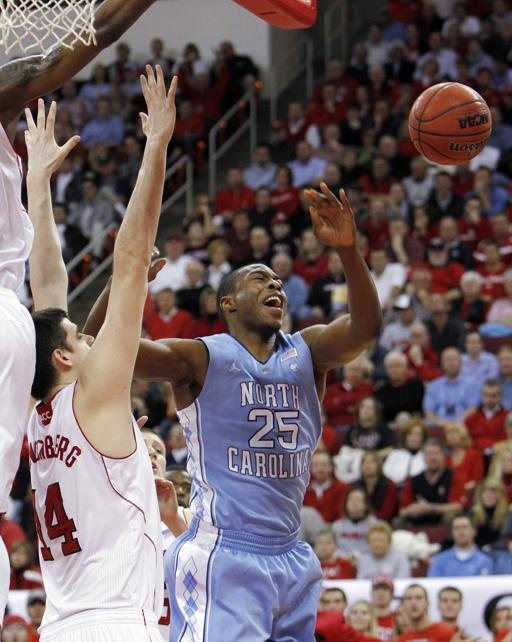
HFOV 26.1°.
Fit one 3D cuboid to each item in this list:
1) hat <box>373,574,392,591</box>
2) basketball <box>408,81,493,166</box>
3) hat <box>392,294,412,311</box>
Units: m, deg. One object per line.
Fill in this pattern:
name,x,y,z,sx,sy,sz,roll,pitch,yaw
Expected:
hat,0.681,1.433,5.951,0.055,0.079,0.164,5,-8,-32
basketball,0.776,-0.814,4.662,0.362,0.349,0.338,4,0,-41
hat,1.164,-0.140,8.744,0.100,0.134,0.115,0,35,1
